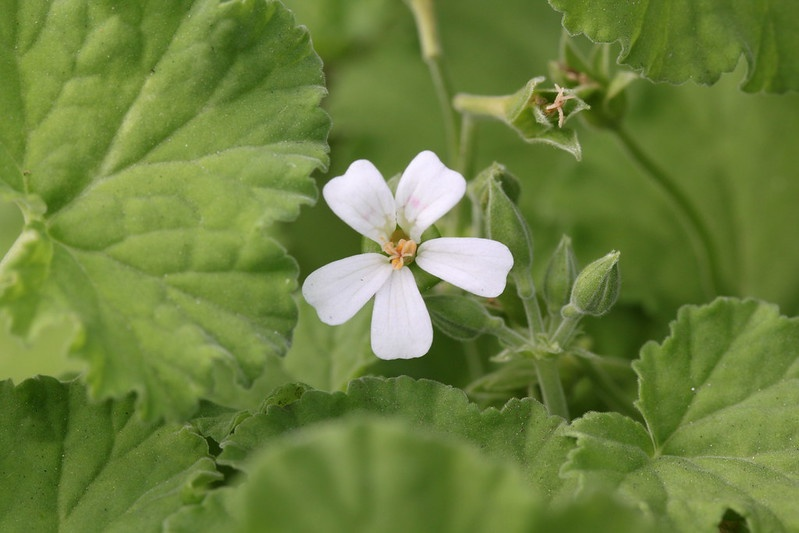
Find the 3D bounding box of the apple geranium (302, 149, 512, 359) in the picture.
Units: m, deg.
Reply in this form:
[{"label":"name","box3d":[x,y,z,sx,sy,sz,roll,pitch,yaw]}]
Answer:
[{"label":"apple geranium","box3d":[0.033,-0.032,2.316,0.490,0.382,0.397,7,39,23]}]
